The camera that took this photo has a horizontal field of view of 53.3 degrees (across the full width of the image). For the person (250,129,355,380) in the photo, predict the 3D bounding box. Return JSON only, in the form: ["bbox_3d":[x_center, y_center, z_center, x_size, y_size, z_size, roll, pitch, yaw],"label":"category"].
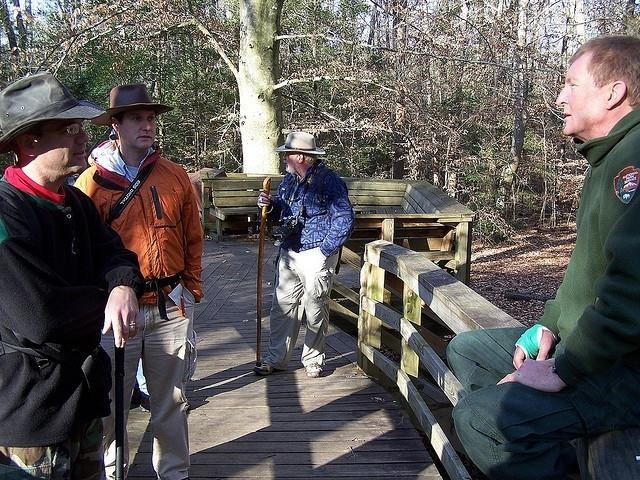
[{"bbox_3d":[-0.132,0.100,5.180,0.764,1.916,0.661,-1,9,-7],"label":"person"}]

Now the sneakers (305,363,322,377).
[{"bbox_3d":[-0.050,1.024,5.041,0.111,0.091,0.098,1,-3,-23],"label":"sneakers"}]

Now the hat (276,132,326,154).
[{"bbox_3d":[-0.147,-0.777,5.152,0.308,0.177,0.408,-1,9,-8],"label":"hat"}]

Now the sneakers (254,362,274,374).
[{"bbox_3d":[-0.445,1.032,5.149,0.081,0.062,0.141,-26,-15,9],"label":"sneakers"}]

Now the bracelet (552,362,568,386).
[{"bbox_3d":[0.855,0.477,2.307,0.072,0.020,0.077,51,8,23],"label":"bracelet"}]
